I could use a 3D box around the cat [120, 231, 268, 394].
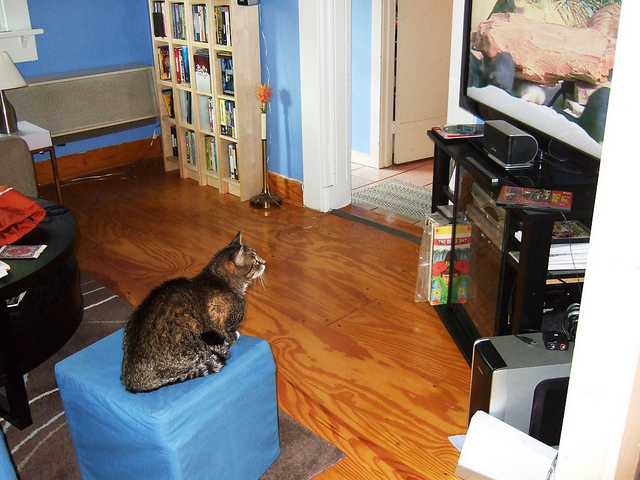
[{"bbox_3d":[-0.442,0.285,1.928,0.346,0.391,0.631,26,47,28],"label":"cat"}]

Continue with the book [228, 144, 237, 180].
[{"bbox_3d":[-0.851,-0.765,4.756,0.053,0.264,0.238,1,7,-7],"label":"book"}]

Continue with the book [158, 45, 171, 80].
[{"bbox_3d":[-1.618,-1.865,5.099,0.048,0.326,0.223,14,28,20],"label":"book"}]

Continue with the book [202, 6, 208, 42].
[{"bbox_3d":[-1.041,-1.967,4.437,0.027,0.283,0.198,-9,24,-24],"label":"book"}]

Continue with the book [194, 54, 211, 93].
[{"bbox_3d":[-1.110,-1.589,4.639,0.241,0.349,0.035,25,39,32],"label":"book"}]

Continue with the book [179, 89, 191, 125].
[{"bbox_3d":[-1.367,-1.369,4.988,0.118,0.238,0.240,-4,30,-10],"label":"book"}]

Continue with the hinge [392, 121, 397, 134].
[{"bbox_3d":[0.804,-1.202,5.267,0.053,0.120,0.035,9,27,18],"label":"hinge"}]
